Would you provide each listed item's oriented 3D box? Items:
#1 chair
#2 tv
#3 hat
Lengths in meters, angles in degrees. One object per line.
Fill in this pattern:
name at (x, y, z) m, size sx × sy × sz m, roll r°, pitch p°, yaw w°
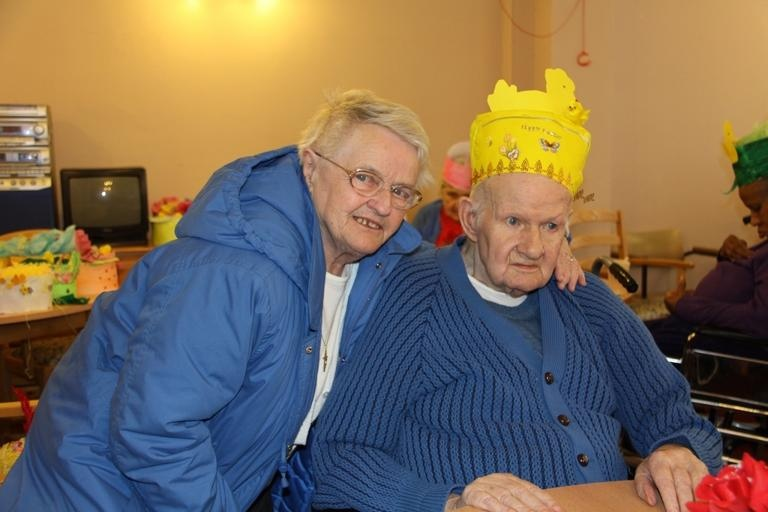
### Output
chair at (2.018, 0.268, 5.438) m, size 0.802 × 1.318 × 0.907 m, roll -6°, pitch 6°, yaw -42°
tv at (-2.352, -0.441, 5.751) m, size 0.860 × 0.928 × 0.574 m, roll -2°, pitch 1°, yaw -25°
hat at (0.556, -0.493, 2.703) m, size 0.484 × 0.461 × 0.425 m, roll 5°, pitch 6°, yaw 12°
